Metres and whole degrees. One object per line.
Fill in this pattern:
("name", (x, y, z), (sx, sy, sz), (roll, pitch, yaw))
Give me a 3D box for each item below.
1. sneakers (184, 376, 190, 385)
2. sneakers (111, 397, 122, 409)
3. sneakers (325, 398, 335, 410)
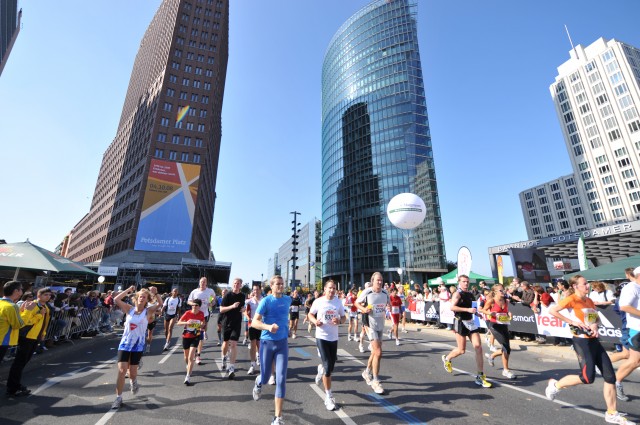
("sneakers", (-4.051, 5.037, 9.920), (0.142, 0.167, 0.388), (5, -15, -5))
("sneakers", (-5.332, 4.940, 8.625), (0.227, 0.311, 0.288), (8, -19, -27))
("sneakers", (0.298, 4.969, 8.573), (0.278, 0.269, 0.148), (-1, -17, 0))
